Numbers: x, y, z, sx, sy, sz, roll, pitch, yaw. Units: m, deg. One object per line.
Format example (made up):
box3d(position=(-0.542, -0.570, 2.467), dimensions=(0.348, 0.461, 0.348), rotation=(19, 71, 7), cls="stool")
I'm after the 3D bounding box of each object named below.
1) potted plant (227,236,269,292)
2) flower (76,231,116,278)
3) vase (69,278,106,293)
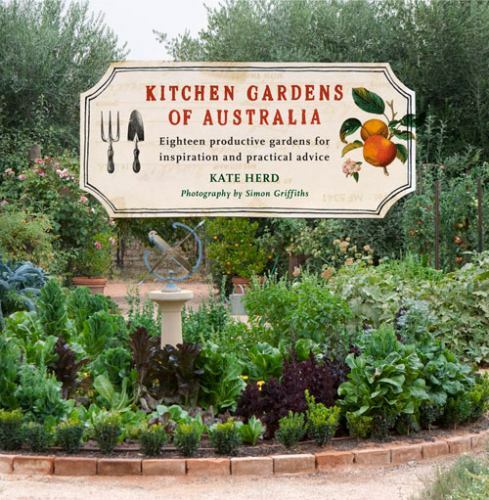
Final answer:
box3d(position=(0.058, 0.304, 18.826), dimensions=(0.584, 0.999, 0.784), rotation=(-7, 5, -17), cls="potted plant")
box3d(position=(-2.618, 0.143, 19.913), dimensions=(0.603, 1.227, 0.887), rotation=(1, 0, 15), cls="flower")
box3d(position=(-2.655, 0.620, 19.325), dimensions=(0.554, 0.294, 0.611), rotation=(-5, -7, 35), cls="vase")
